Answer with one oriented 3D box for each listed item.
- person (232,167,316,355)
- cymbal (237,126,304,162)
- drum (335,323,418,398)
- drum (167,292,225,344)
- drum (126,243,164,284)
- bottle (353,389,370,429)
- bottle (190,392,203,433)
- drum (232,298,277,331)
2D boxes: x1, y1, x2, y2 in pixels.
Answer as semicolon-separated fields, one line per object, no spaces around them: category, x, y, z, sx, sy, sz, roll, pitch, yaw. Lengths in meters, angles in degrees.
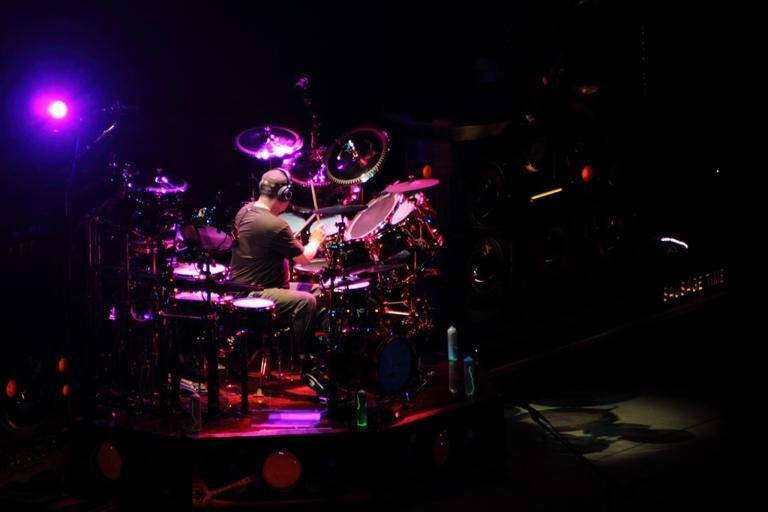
person;-1.236;-0.118;8.287;1.098;2.447;1.242;-5;-35;-12
cymbal;-1.403;-1.401;8.698;0.547;0.137;0.535;13;-37;-23
drum;-0.191;1.203;7.941;0.640;0.716;0.856;3;-7;-41
drum;-2.066;0.634;7.754;0.593;0.488;0.463;0;5;-25
drum;-2.760;0.083;8.162;0.386;0.515;0.403;-6;-16;-2
bottle;-0.229;1.639;7.439;0.163;0.384;0.423;-10;-34;-5
bottle;-1.932;1.644;7.316;0.109;0.363;0.411;-3;-35;-16
drum;-1.417;0.645;7.655;0.380;0.223;0.374;0;6;0
